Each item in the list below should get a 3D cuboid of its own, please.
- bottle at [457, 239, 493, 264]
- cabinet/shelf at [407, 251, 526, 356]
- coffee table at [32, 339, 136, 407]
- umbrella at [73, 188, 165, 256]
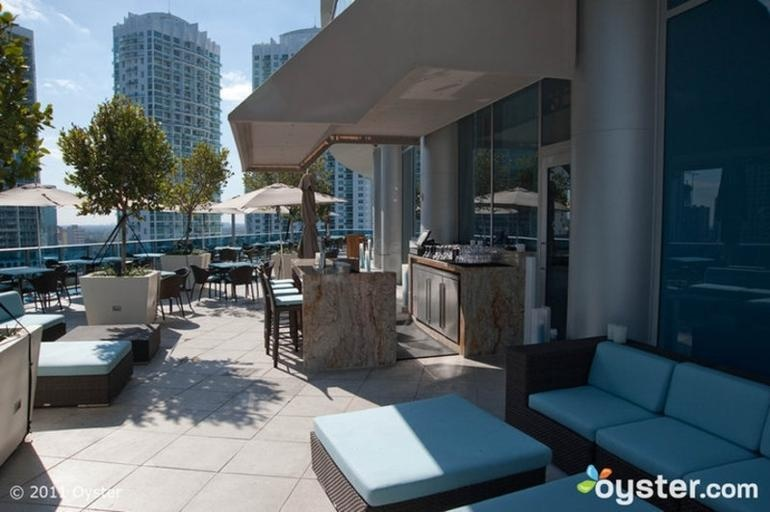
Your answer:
[{"bbox_3d":[1.399,-0.061,8.225,0.432,0.219,0.610,0,0,-1],"label":"bottle"},{"bbox_3d":[1.250,0.266,8.496,1.312,1.545,2.426,0,4,-13],"label":"cabinet/shelf"},{"bbox_3d":[-3.634,1.407,6.333,0.712,0.388,0.984,2,1,-15],"label":"coffee table"},{"bbox_3d":[-5.150,-0.674,10.202,2.185,1.371,1.478,12,18,43],"label":"umbrella"}]
